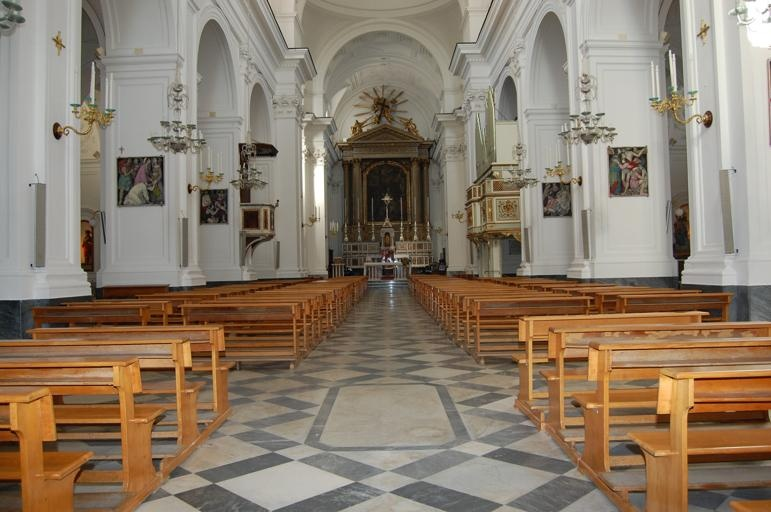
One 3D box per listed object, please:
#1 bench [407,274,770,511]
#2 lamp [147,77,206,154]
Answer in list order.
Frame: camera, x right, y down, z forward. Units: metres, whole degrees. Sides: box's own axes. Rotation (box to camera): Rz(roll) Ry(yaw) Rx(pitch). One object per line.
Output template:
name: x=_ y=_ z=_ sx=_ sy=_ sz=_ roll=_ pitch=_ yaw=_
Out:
bench: x=1.838 y=1.224 z=5.534 sx=1.747 sy=0.529 sz=3.570 roll=0 pitch=0 yaw=3
lamp: x=-3.538 y=-2.455 z=10.505 sx=0.805 sy=1.365 sz=2.466 roll=-3 pitch=8 yaw=-16
